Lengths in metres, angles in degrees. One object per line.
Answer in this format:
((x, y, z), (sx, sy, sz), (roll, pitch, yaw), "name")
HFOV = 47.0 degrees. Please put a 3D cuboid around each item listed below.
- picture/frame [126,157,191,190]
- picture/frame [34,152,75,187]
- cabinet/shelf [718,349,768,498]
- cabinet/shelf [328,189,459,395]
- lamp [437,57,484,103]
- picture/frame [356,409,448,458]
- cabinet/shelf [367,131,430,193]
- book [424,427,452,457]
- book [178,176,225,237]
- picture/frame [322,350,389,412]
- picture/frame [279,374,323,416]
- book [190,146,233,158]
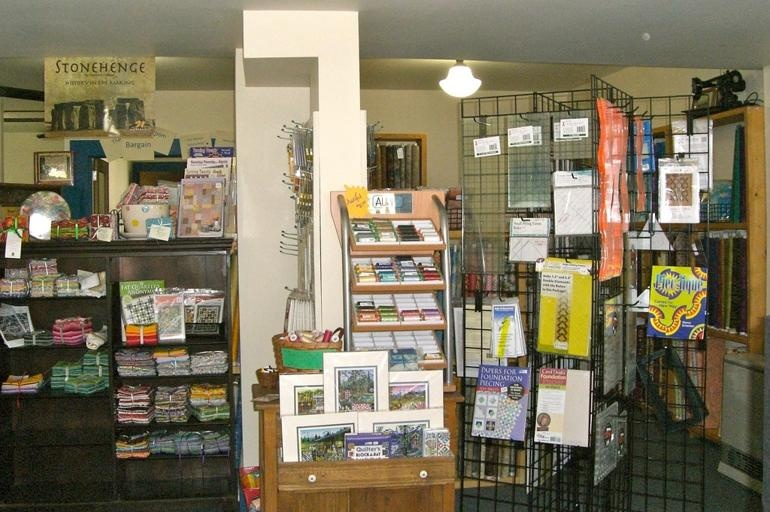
((-3.155, -1.166, 12.286), (0.879, 0.329, 0.390), (-1, 4, 21), "picture/frame")
((-4.130, -1.083, 11.021), (0.395, 0.433, 0.045), (-2, 5, -23), "picture/frame")
((3.326, 1.533, 8.161), (0.268, 1.213, 0.595), (-3, 3, -22), "cabinet/shelf")
((0.084, 0.278, 7.021), (0.849, 1.559, 0.578), (-3, 8, -11), "cabinet/shelf")
((0.808, -1.930, 9.643), (0.440, 0.560, 0.468), (-1, -16, 19), "lamp")
((0.102, 1.209, 6.384), (0.665, 0.307, 0.160), (-3, 6, -3), "picture/frame")
((0.164, -1.115, 10.522), (0.723, 1.087, 0.735), (-1, 5, -11), "cabinet/shelf")
((0.371, 1.369, 6.455), (0.186, 0.193, 0.069), (0, -2, -6), "book")
((-1.664, -0.423, 7.992), (0.480, 0.690, 0.076), (-1, -9, -3), "book")
((-0.215, 0.967, 6.483), (0.465, 0.516, 0.043), (-2, 11, -3), "picture/frame")
((-0.620, 1.021, 6.448), (0.268, 0.256, 0.030), (0, -5, -8), "picture/frame")
((-1.680, -1.000, 8.540), (0.411, 0.126, 0.424), (-3, 4, -6), "book")
